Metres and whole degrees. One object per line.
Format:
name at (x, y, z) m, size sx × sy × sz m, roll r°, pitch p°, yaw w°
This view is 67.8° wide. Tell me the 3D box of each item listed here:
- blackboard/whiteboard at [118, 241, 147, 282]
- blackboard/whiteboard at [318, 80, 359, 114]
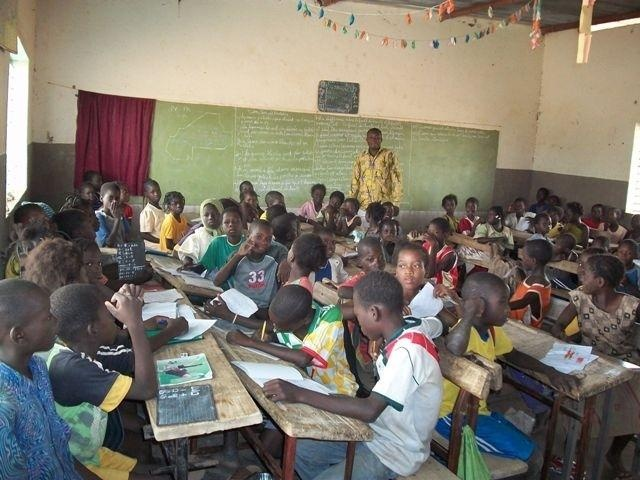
blackboard/whiteboard at (-0.988, 0.116, 2.501) m, size 0.196 × 0.283 × 0.023 m, roll -5°, pitch 10°, yaw -39°
blackboard/whiteboard at (0.233, -1.985, 6.521) m, size 0.470 × 0.358 × 0.063 m, roll 0°, pitch 9°, yaw -21°
